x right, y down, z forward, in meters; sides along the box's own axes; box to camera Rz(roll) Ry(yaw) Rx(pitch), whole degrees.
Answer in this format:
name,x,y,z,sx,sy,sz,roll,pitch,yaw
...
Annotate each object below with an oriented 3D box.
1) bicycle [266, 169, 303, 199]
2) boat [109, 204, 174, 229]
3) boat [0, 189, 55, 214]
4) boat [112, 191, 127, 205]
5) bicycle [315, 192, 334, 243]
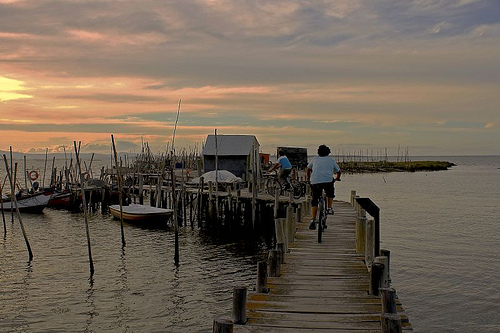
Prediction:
name,x,y,z,sx,sy,sz,roll,pitch,yaw
bicycle,2.410,1.398,42.637,1.379,1.436,2.710,-13,11,-41
boat,-8.341,3.666,46.607,5.184,1.126,1.849,2,5,36
boat,-18.551,3.157,53.855,5.811,1.682,1.650,-3,2,19
boat,-12.030,2.818,57.447,1.253,1.543,3.050,-1,11,-12
bicycle,3.442,2.361,29.368,0.603,2.474,1.428,3,12,6
